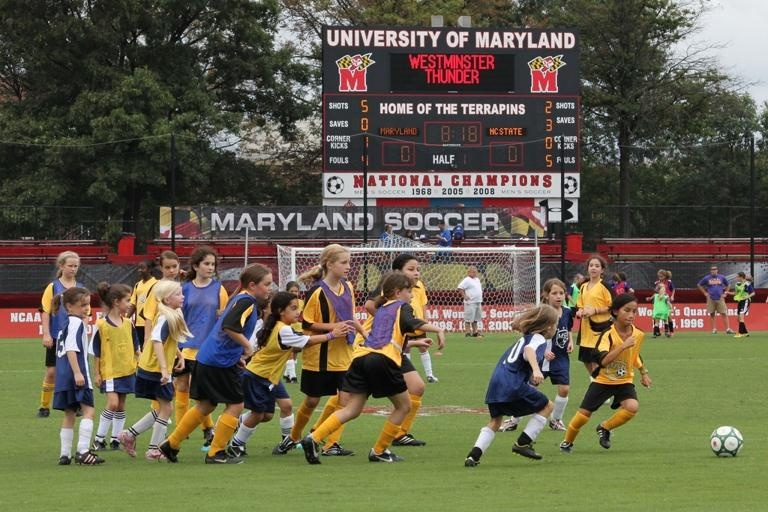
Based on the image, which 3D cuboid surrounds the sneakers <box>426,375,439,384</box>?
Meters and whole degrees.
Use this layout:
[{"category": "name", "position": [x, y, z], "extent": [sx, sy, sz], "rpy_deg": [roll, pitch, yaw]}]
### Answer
[{"category": "sneakers", "position": [1.293, 3.280, 38.345], "extent": [0.146, 0.160, 0.353], "rpy_deg": [1, 1, 22]}]

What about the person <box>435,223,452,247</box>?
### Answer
[{"category": "person", "position": [2.157, -0.861, 51.833], "extent": [0.529, 1.025, 1.399], "rpy_deg": [-1, -6, 2]}]

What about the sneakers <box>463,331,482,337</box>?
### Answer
[{"category": "sneakers", "position": [2.913, 2.535, 47.181], "extent": [0.570, 0.221, 0.191], "rpy_deg": [0, 0, 2]}]

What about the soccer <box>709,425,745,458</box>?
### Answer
[{"category": "soccer", "position": [7.845, 4.183, 32.390], "extent": [0.698, 0.660, 0.286], "rpy_deg": [-2, -6, 11]}]

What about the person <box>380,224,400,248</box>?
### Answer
[{"category": "person", "position": [0.231, -0.697, 49.511], "extent": [0.601, 0.938, 0.939], "rpy_deg": [0, -5, -9]}]

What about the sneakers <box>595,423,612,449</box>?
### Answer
[{"category": "sneakers", "position": [5.115, 4.131, 32.818], "extent": [0.230, 0.658, 0.287], "rpy_deg": [-5, -16, -13]}]

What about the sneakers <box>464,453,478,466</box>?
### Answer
[{"category": "sneakers", "position": [1.931, 4.543, 31.894], "extent": [0.244, 0.244, 0.282], "rpy_deg": [7, -5, 10]}]

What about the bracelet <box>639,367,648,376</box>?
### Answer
[{"category": "bracelet", "position": [6.027, 2.630, 32.977], "extent": [0.211, 0.082, 0.238], "rpy_deg": [3, 6, 4]}]

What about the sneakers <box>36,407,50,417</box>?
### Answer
[{"category": "sneakers", "position": [-8.560, 3.833, 35.127], "extent": [0.301, 0.285, 0.180], "rpy_deg": [4, -8, -12]}]

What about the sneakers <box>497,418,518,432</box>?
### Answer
[{"category": "sneakers", "position": [2.990, 4.014, 34.072], "extent": [0.229, 0.266, 0.636], "rpy_deg": [-7, -22, 14]}]
